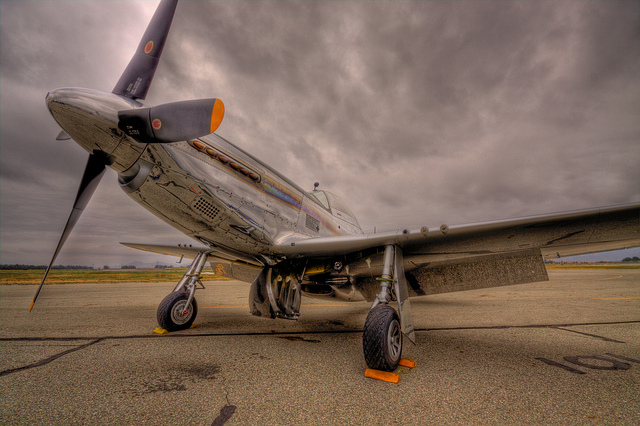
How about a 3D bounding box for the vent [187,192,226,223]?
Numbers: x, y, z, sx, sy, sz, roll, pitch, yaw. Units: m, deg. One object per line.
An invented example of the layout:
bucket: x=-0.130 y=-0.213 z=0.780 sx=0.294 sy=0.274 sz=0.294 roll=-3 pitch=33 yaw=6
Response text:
vent: x=-1.623 y=-0.086 z=4.544 sx=0.500 sy=0.338 sz=0.096 roll=35 pitch=16 yaw=-22
